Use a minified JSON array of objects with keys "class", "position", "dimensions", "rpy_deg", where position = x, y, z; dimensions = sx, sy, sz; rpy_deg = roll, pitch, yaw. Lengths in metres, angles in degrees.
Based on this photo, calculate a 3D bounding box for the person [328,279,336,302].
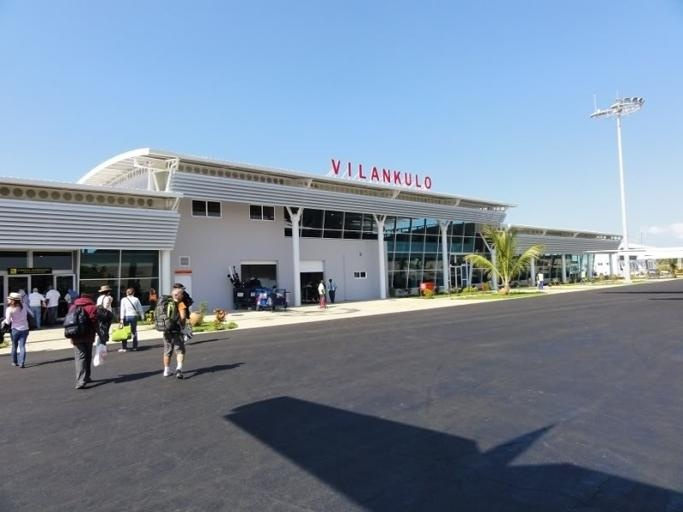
[{"class":"person","position":[-0.747,2.616,35.518],"dimensions":[0.617,1.798,1.392],"rpy_deg":[-2,0,-2]}]

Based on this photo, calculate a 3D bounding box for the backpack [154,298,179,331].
[{"class":"backpack","position":[-4.113,1.392,11.252],"dimensions":[0.478,0.911,0.671],"rpy_deg":[-2,-17,-2]}]

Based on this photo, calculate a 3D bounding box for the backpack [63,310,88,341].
[{"class":"backpack","position":[-5.975,1.519,10.760],"dimensions":[0.529,0.719,0.402],"rpy_deg":[-16,-18,33]}]

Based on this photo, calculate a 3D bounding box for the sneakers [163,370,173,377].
[{"class":"sneakers","position":[-4.224,2.838,11.548],"dimensions":[0.112,0.203,0.293],"rpy_deg":[0,2,6]}]

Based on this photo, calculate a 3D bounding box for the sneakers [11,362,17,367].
[{"class":"sneakers","position":[-9.398,3.126,13.706],"dimensions":[0.111,0.135,0.327],"rpy_deg":[9,-15,-44]}]

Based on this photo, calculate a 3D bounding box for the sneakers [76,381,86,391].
[{"class":"sneakers","position":[-5.819,2.888,10.663],"dimensions":[0.227,0.173,0.344],"rpy_deg":[-2,0,-32]}]

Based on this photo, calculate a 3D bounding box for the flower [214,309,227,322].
[{"class":"flower","position":[-5.444,2.719,21.509],"dimensions":[0.325,0.604,0.987],"rpy_deg":[-2,0,-9]}]

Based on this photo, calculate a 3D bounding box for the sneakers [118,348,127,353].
[{"class":"sneakers","position":[-7.226,3.140,15.734],"dimensions":[0.290,0.189,0.099],"rpy_deg":[1,-11,7]}]

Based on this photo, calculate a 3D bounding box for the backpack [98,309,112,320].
[{"class":"backpack","position":[-5.740,1.436,11.500],"dimensions":[0.221,0.301,0.273],"rpy_deg":[9,7,8]}]
